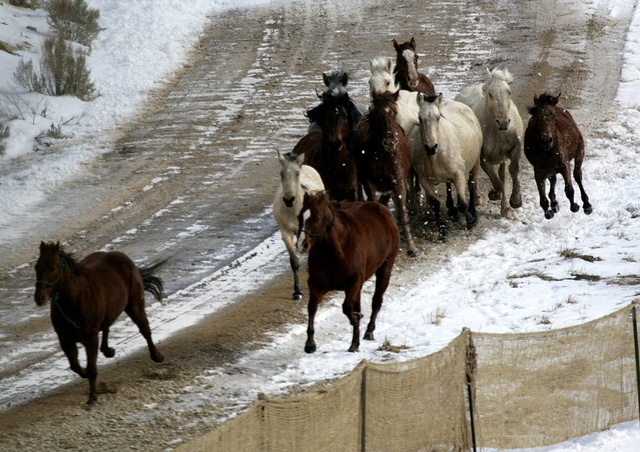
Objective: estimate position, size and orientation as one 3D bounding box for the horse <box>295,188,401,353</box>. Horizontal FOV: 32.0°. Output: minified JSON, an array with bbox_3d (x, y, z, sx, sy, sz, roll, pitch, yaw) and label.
[{"bbox_3d":[0.603,0.859,24.943,1.269,3.504,2.513,14,27,37],"label":"horse"}]

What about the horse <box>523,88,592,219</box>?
[{"bbox_3d":[6.447,-2.071,30.319,1.741,3.289,2.060,-3,21,1],"label":"horse"}]
